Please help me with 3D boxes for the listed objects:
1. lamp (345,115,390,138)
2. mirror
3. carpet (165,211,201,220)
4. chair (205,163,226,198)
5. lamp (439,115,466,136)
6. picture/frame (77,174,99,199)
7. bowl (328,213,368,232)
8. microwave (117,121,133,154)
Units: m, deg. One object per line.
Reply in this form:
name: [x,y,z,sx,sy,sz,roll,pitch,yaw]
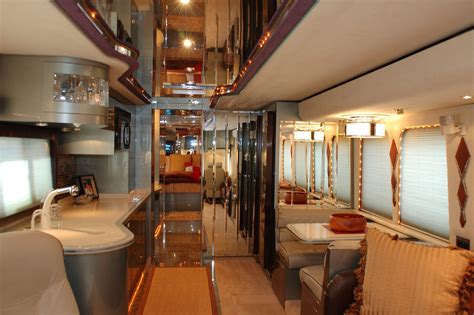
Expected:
lamp: [1.500,-0.351,4.076,0.314,0.195,0.319,0,-1,0]
mirror: [-0.075,0.403,5.335,0.917,2.276,0.453,1,7,10]
carpet: [-1.191,1.273,7.462,0.751,0.089,0.617,0,7,-4]
chair: [-0.340,0.357,5.265,0.325,0.546,0.173,-2,7,-13]
lamp: [1.981,-0.306,3.176,0.132,0.205,0.209,-3,5,-28]
picture/frame: [-1.996,0.391,4.571,0.315,0.303,0.133,-6,21,29]
bowl: [1.251,0.734,3.852,0.414,0.159,0.438,-2,1,0]
microwave: [-1.524,-0.271,4.556,0.236,0.410,0.468,1,1,-7]
